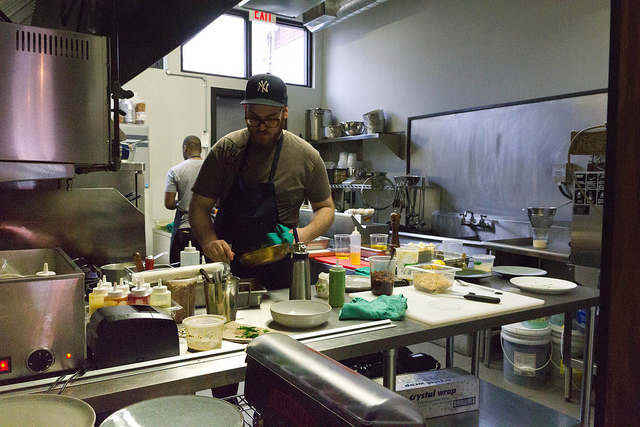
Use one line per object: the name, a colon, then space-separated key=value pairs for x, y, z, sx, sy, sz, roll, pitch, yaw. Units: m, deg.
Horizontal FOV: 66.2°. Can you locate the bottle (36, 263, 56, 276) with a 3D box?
bottle: x=-1.143 y=0.232 z=2.034 sx=0.059 sy=0.037 sz=0.058 roll=1 pitch=5 yaw=0

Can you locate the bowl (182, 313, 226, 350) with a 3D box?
bowl: x=-0.467 y=0.477 z=1.977 sx=0.152 sy=0.123 sz=0.162 roll=0 pitch=8 yaw=0

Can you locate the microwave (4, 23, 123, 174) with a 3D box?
microwave: x=-0.966 y=-0.318 z=1.926 sx=0.432 sy=0.446 sz=0.659 roll=0 pitch=0 yaw=-28

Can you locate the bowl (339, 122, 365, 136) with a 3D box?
bowl: x=0.451 y=-1.155 z=6.708 sx=0.152 sy=0.183 sz=0.491 roll=-6 pitch=10 yaw=-38

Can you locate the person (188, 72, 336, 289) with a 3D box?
person: x=-0.358 y=0.038 z=3.028 sx=0.970 sy=1.613 sz=0.875 roll=3 pitch=12 yaw=-2

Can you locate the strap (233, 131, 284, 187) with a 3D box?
strap: x=-0.371 y=-0.344 z=2.988 sx=0.253 sy=0.300 sz=0.269 roll=-8 pitch=19 yaw=-30

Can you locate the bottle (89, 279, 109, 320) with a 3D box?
bottle: x=-0.876 y=0.342 z=1.944 sx=0.075 sy=0.121 sz=0.160 roll=-3 pitch=9 yaw=-26

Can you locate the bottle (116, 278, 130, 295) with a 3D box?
bottle: x=-0.818 y=0.302 z=2.047 sx=0.055 sy=0.059 sz=0.057 roll=2 pitch=6 yaw=36

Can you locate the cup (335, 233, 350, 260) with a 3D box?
cup: x=0.181 y=0.253 z=3.759 sx=0.163 sy=0.163 sz=0.157 roll=1 pitch=-1 yaw=0

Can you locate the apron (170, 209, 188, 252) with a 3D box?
apron: x=-1.532 y=0.159 z=5.269 sx=0.176 sy=0.322 sz=0.190 roll=20 pitch=2 yaw=2

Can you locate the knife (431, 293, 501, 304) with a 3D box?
knife: x=0.783 y=0.436 z=2.571 sx=0.319 sy=0.042 sz=0.053 roll=7 pitch=-2 yaw=39

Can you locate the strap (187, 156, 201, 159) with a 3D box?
strap: x=-1.425 y=-0.634 z=5.557 sx=0.124 sy=0.029 sz=0.080 roll=-1 pitch=8 yaw=-12

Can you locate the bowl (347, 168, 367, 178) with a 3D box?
bowl: x=0.519 y=-0.540 z=6.558 sx=0.213 sy=0.096 sz=0.147 roll=-2 pitch=4 yaw=-17

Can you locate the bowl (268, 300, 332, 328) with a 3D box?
bowl: x=-0.081 y=0.439 z=2.136 sx=0.263 sy=0.068 sz=0.265 roll=1 pitch=4 yaw=0

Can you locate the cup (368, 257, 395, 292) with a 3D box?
cup: x=0.352 y=0.334 z=2.600 sx=0.182 sy=0.186 sz=0.182 roll=4 pitch=-11 yaw=1

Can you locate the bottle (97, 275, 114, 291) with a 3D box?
bottle: x=-0.875 y=0.280 z=2.018 sx=0.058 sy=0.060 sz=0.057 roll=4 pitch=6 yaw=42

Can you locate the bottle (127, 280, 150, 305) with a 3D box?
bottle: x=-0.738 y=0.313 z=1.995 sx=0.081 sy=0.139 sz=0.084 roll=0 pitch=3 yaw=0

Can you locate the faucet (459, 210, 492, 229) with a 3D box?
faucet: x=1.678 y=0.060 z=5.315 sx=0.275 sy=0.146 sz=0.490 roll=1 pitch=8 yaw=6

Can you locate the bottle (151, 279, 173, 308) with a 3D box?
bottle: x=-0.682 y=0.350 z=2.087 sx=0.093 sy=0.145 sz=0.092 roll=2 pitch=7 yaw=0

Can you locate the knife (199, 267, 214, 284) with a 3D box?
knife: x=-0.516 y=0.263 z=2.200 sx=0.024 sy=0.029 sz=0.142 roll=-33 pitch=41 yaw=-17
